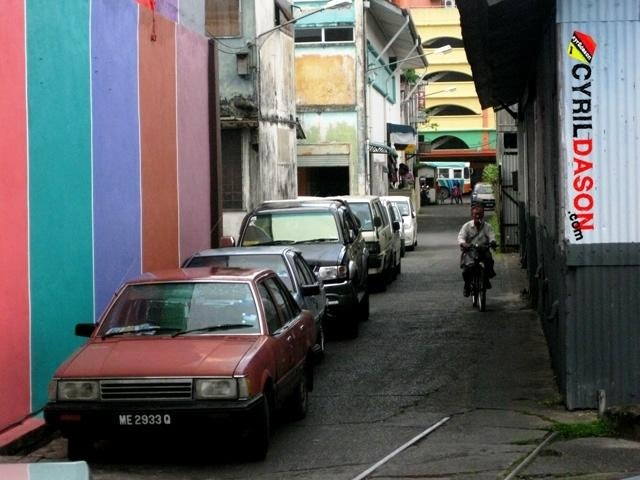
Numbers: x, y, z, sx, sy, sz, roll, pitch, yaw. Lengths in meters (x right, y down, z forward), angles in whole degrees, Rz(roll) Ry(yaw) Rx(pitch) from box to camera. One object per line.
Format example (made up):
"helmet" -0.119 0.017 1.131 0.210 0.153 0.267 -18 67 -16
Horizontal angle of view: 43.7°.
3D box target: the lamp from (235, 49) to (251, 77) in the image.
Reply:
"lamp" -2.000 -4.661 21.192 0.421 0.680 0.315 -5 6 -9

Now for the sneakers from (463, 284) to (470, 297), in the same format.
"sneakers" 2.938 1.022 16.035 0.148 0.231 0.063 4 0 -21

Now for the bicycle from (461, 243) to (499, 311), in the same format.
"bicycle" 3.067 0.739 15.680 0.395 1.281 0.830 -5 6 -12
